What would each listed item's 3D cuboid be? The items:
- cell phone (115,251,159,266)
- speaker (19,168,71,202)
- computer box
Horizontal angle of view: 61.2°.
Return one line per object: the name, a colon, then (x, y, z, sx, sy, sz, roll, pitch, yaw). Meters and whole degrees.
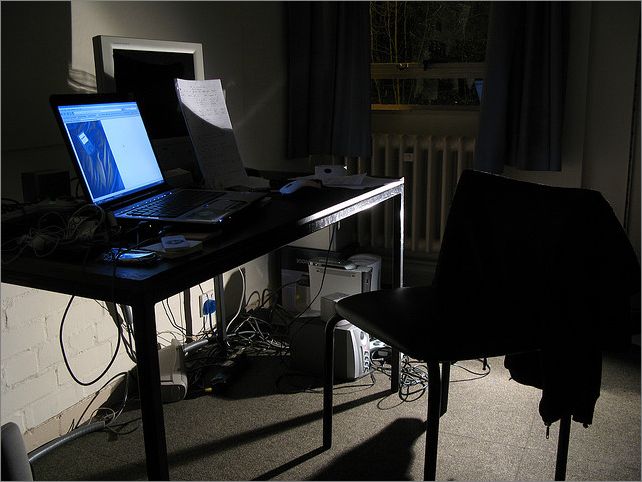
cell phone: (-0.477, 0.043, 1.415, 0.065, 0.016, 0.053, 2, 11, 9)
speaker: (-0.922, -0.218, 1.862, 0.233, 0.113, 0.172, 16, 19, 40)
computer box: (0.083, 0.249, 2.983, 0.347, 0.322, 0.186, 7, 17, 14)
